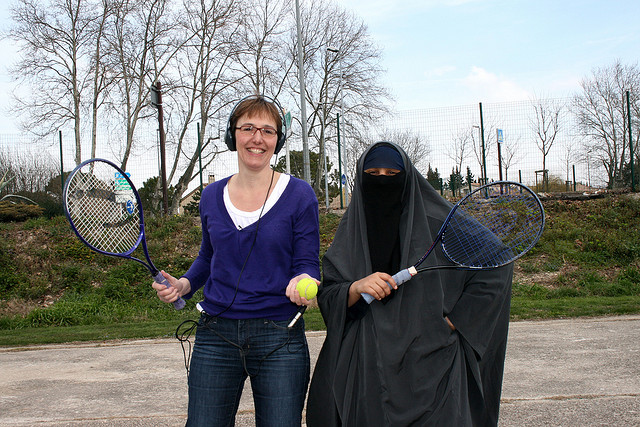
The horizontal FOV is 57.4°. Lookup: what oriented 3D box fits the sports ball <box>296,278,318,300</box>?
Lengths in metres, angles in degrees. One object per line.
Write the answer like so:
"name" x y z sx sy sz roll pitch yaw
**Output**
"sports ball" -0.138 0.872 6.729 0.204 0.235 0.219 3 -10 1
